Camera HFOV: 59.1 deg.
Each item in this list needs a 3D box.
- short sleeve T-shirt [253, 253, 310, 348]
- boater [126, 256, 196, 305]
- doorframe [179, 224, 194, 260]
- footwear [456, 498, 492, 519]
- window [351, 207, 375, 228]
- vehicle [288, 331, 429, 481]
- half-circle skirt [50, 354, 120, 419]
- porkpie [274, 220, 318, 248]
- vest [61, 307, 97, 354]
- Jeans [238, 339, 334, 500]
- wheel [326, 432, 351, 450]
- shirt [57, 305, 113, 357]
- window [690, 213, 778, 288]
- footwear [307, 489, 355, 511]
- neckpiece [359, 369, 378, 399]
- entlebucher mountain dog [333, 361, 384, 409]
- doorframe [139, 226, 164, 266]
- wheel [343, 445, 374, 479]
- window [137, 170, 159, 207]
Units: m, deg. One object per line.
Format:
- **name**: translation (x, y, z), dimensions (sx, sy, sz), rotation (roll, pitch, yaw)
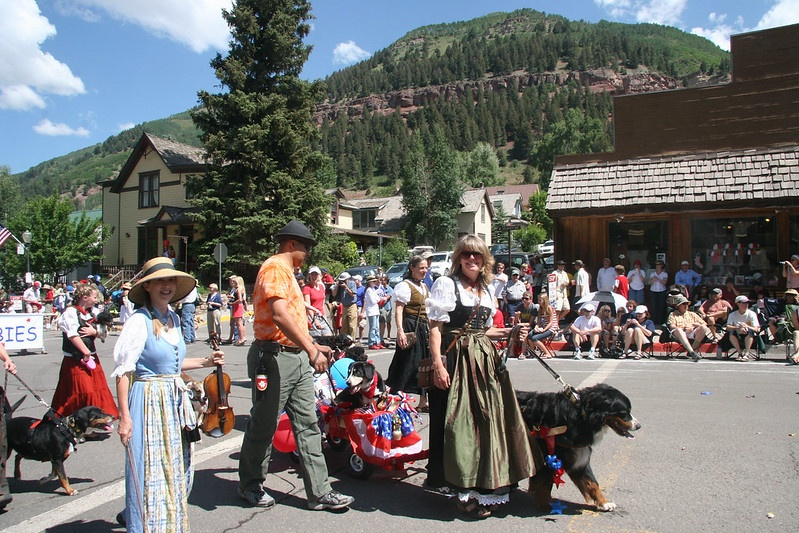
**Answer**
- **short sleeve T-shirt**: translation (-1.745, 0.410, 9.906), dimensions (0.912, 1.653, 1.714), rotation (0, 1, -5)
- **boater**: translation (-2.983, 0.110, 8.955), dimensions (0.606, 0.342, 0.638), rotation (-16, -22, 0)
- **doorframe**: translation (-11.398, -1.164, 37.619), dimensions (0.842, 2.004, 2.875), rotation (-4, 7, -17)
- **footwear**: translation (1.010, 3.134, 9.130), dimensions (0.452, 0.263, 0.135), rotation (-1, 7, 6)
- **window**: translation (-3.193, -4.486, 63.795), dimensions (1.933, 1.546, 0.169), rotation (-3, -8, 25)
- **vehicle**: translation (-0.563, 2.060, 10.388), dimensions (1.153, 1.578, 2.816), rotation (-10, 11, -31)
- **half-circle skirt**: translation (-5.043, 1.902, 11.606), dimensions (1.178, 1.253, 0.964), rotation (-3, -5, -17)
- **porkpie**: translation (-1.323, -0.472, 9.641), dimensions (0.368, 0.180, 0.447), rotation (2, -17, 24)
- **vest**: translation (-5.101, 1.016, 11.169), dimensions (0.403, 0.720, 0.725), rotation (-1, 2, 22)
- **Jeans**: translation (-1.520, 2.020, 9.462), dimensions (1.319, 2.105, 0.845), rotation (-1, 0, 2)
- **wheel**: translation (-0.886, 2.572, 10.416), dimensions (0.352, 0.379, 0.142), rotation (-10, 3, 26)
- **shirt**: translation (-5.074, 0.860, 11.452), dimensions (0.711, 0.523, 0.755), rotation (-2, -34, -29)
- **window**: translation (9.469, -0.481, 19.638), dimensions (1.876, 1.755, 0.684), rotation (0, 6, 14)
- **footwear**: translation (-0.923, 3.074, 9.352), dimensions (0.536, 0.246, 0.256), rotation (-3, 0, 5)
- **neckpiece**: translation (-0.359, 1.667, 9.895), dimensions (0.270, 0.354, 0.297), rotation (-4, -15, 35)
- **entlebucher mountain dog**: translation (-0.563, 1.686, 9.913), dimensions (0.646, 0.450, 0.617), rotation (-13, -20, 22)
- **doorframe**: translation (-12.272, -1.140, 34.863), dimensions (1.949, 2.599, 0.134), rotation (-4, -6, 37)
- **wheel**: translation (-0.550, 2.757, 9.890), dimensions (0.179, 0.489, 0.457), rotation (4, 3, -44)
- **window**: translation (-14.443, -4.497, 40.520), dimensions (1.899, 2.475, 0.237), rotation (-3, -7, 22)
